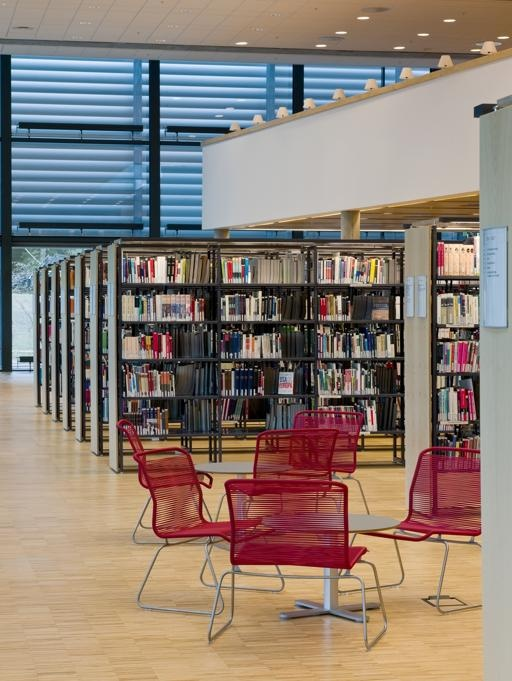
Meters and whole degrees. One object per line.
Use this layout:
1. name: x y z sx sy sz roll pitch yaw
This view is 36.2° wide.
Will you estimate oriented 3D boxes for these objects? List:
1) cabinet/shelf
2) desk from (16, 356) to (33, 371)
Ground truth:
1. cabinet/shelf: -0.025 0.053 9.345 3.428 1.977 3.619 -1 2 -20
2. desk: -6.360 0.620 21.633 0.390 0.483 0.292 0 -4 -15
